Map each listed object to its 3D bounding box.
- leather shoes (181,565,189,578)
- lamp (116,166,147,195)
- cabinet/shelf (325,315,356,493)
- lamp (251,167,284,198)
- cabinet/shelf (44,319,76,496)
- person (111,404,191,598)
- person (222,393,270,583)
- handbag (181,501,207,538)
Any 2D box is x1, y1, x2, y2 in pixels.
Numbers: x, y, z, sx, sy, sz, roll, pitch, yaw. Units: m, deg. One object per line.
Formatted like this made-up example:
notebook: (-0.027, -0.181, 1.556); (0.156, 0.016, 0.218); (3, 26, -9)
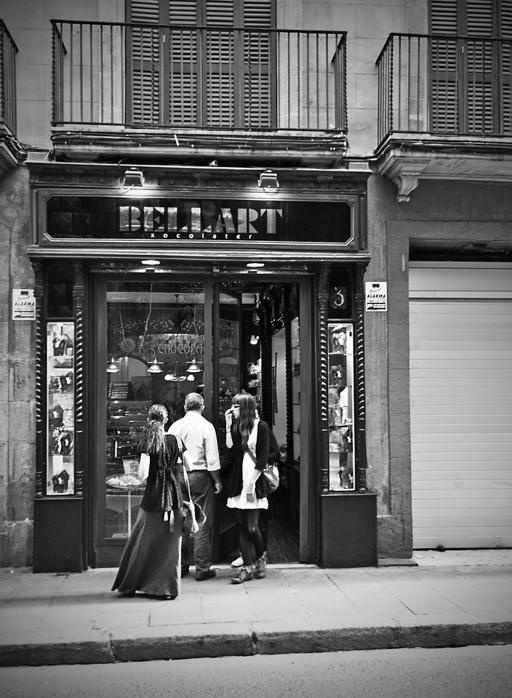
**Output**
leather shoes: (-0.713, 2.238, 11.339); (0.079, 0.171, 0.089); (-1, 2, 0)
lamp: (-1.247, -1.711, 11.432); (0.257, 0.265, 0.326); (1, -3, -8)
cabinet/shelf: (0.899, 0.599, 11.888); (0.286, 1.778, 0.162); (1, -3, 5)
lamp: (0.129, -1.730, 11.599); (0.235, 0.220, 0.362); (1, -3, 0)
cabinet/shelf: (-1.997, 0.601, 11.580); (0.325, 1.785, 0.152); (1, -3, -9)
person: (-0.979, 1.433, 10.567); (0.560, 1.761, 0.249); (0, -3, 8)
person: (-0.088, 1.385, 11.409); (0.447, 1.835, 0.831); (1, -3, -2)
handbag: (-0.589, 1.645, 10.903); (0.152, 0.243, 0.325); (6, -32, 22)
